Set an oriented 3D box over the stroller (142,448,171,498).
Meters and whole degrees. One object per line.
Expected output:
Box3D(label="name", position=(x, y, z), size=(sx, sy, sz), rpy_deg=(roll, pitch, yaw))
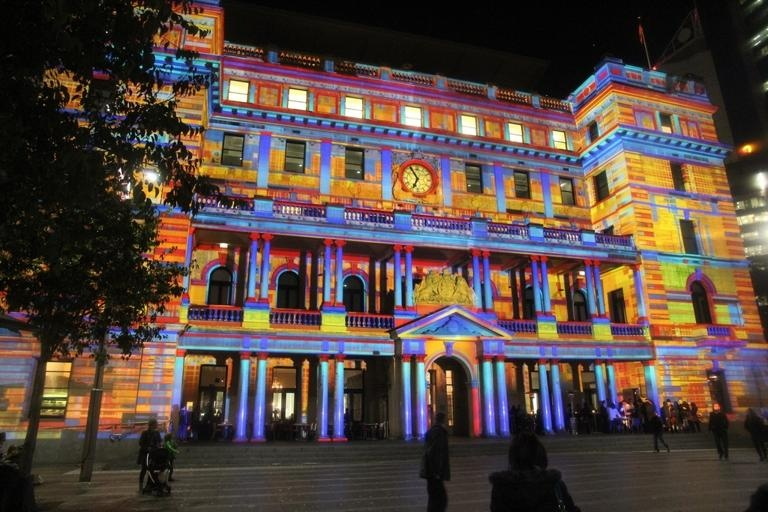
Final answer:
Box3D(label="stroller", position=(-6.816, 6.498, 17.693), size=(0.886, 1.360, 0.436), rpy_deg=(-2, -19, 7))
